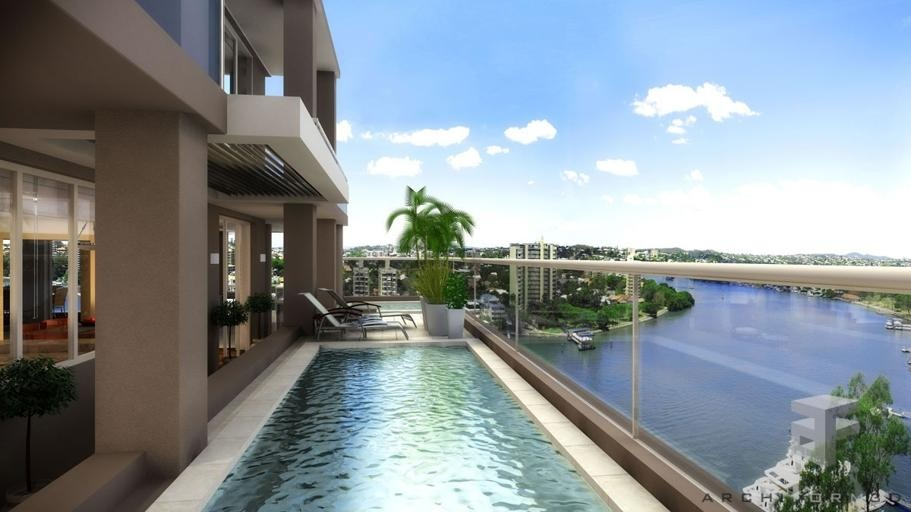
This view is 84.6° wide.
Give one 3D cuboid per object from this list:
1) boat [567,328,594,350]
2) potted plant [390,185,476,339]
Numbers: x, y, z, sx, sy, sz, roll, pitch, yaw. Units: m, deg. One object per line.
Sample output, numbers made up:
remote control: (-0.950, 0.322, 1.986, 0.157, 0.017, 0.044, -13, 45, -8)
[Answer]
boat: (1.440, 0.960, 5.762, 0.041, 0.290, 0.526, -4, 8, -16)
potted plant: (-0.424, 0.080, 10.701, 1.838, 3.094, 0.994, 7, 12, 44)
